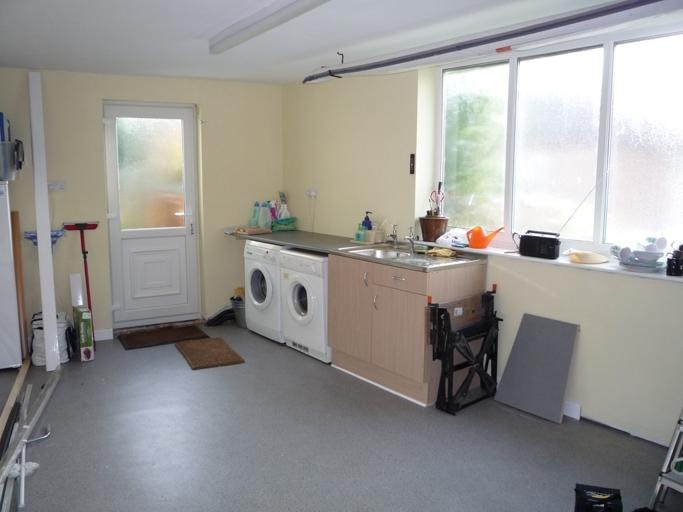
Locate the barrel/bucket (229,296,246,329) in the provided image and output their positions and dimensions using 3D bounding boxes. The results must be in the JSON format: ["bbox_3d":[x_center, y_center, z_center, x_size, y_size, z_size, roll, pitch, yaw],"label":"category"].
[{"bbox_3d":[-1.255,0.694,5.845,0.296,0.319,0.294,0,5,0],"label":"barrel/bucket"}]

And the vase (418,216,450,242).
[{"bbox_3d":[0.864,-0.267,4.578,0.242,0.193,0.252,3,7,20],"label":"vase"}]

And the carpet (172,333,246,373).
[{"bbox_3d":[-1.405,1.010,5.036,0.523,0.038,0.912,-8,15,-32],"label":"carpet"}]

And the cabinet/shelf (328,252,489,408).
[{"bbox_3d":[0.542,0.553,4.525,0.884,1.174,1.223,-5,10,-37],"label":"cabinet/shelf"}]

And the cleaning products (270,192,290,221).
[{"bbox_3d":[-0.802,-0.652,6.229,0.261,0.329,0.316,-2,12,-7],"label":"cleaning products"}]

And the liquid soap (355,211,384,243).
[{"bbox_3d":[0.264,-0.303,5.082,0.267,0.290,0.389,-7,14,-28],"label":"liquid soap"}]

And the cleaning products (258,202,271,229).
[{"bbox_3d":[-0.979,-0.501,6.038,0.169,0.298,0.325,-2,12,-7],"label":"cleaning products"}]

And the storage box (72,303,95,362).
[{"bbox_3d":[-2.646,0.798,4.890,0.133,0.405,0.406,-6,24,-20],"label":"storage box"}]
